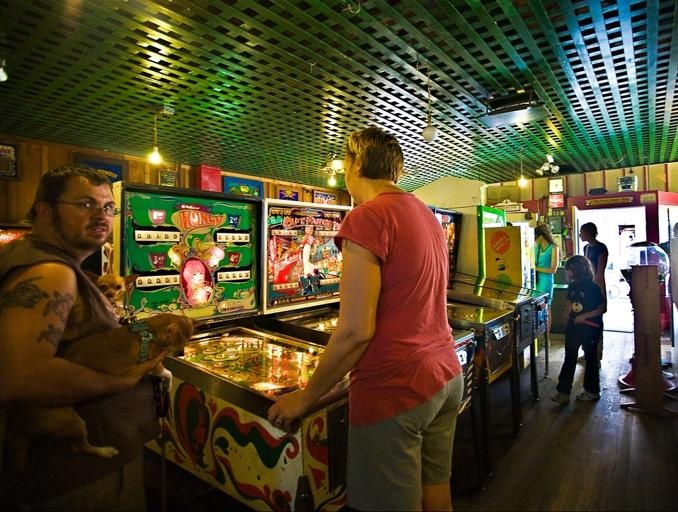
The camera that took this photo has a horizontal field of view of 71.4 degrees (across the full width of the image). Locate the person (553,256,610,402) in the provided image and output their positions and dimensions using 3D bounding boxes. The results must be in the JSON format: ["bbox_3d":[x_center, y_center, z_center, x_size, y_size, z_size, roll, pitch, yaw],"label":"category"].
[{"bbox_3d":[2.309,0.681,4.540,0.433,1.376,0.508,-1,5,26],"label":"person"}]

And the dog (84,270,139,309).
[{"bbox_3d":[-1.182,0.187,2.433,0.210,0.260,0.293,-2,13,-29],"label":"dog"}]

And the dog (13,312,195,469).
[{"bbox_3d":[-0.793,0.425,1.923,0.346,0.351,0.887,25,28,38],"label":"dog"}]

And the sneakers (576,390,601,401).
[{"bbox_3d":[2.371,1.335,4.519,0.234,0.091,0.089,1,-4,9],"label":"sneakers"}]

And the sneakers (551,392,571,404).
[{"bbox_3d":[2.093,1.345,4.447,0.070,0.075,0.178,8,-12,-29],"label":"sneakers"}]

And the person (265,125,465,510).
[{"bbox_3d":[0.171,0.322,2.036,0.724,1.759,0.441,-6,5,-37],"label":"person"}]

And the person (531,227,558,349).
[{"bbox_3d":[2.641,0.040,6.034,0.253,0.912,0.579,-1,4,16],"label":"person"}]
